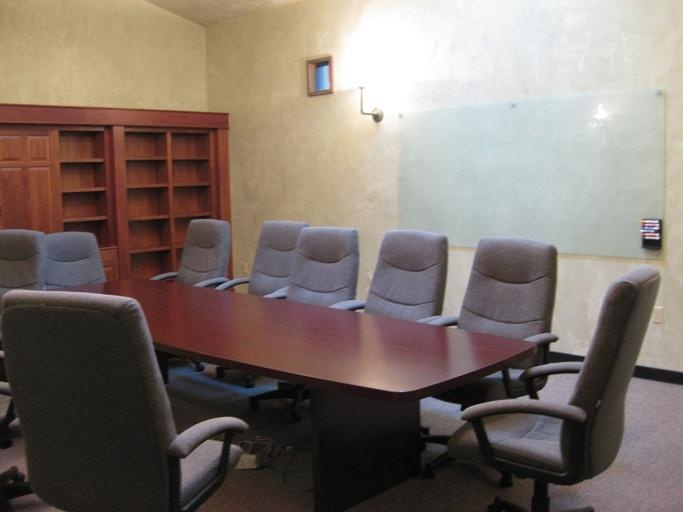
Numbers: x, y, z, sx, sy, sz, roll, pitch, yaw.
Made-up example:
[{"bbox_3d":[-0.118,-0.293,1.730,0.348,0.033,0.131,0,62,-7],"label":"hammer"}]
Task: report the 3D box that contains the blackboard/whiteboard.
[{"bbox_3d":[1.547,-0.699,5.090,0.036,1.375,2.614,-16,16,-40],"label":"blackboard/whiteboard"}]
